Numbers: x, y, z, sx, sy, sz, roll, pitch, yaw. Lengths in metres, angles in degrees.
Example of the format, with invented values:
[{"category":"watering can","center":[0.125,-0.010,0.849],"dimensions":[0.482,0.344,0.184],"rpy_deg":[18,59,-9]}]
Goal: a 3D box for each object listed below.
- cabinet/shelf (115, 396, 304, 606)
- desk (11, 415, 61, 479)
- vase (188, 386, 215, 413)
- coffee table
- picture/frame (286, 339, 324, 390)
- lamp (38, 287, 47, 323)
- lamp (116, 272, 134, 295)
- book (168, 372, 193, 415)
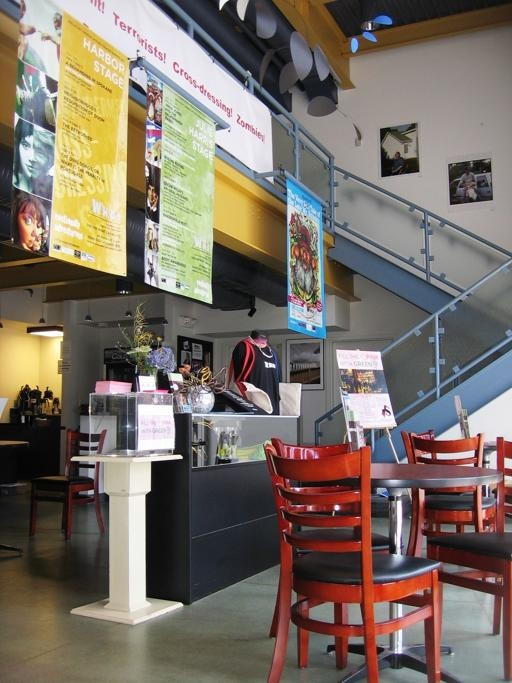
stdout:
[{"category":"cabinet/shelf","center":[-0.287,0.877,3.032],"dimensions":[0.374,1.028,1.202],"rpy_deg":[-3,-3,24]},{"category":"desk","center":[-4.106,1.921,10.769],"dimensions":[0.851,1.296,1.243],"rpy_deg":[8,-7,-29]},{"category":"vase","center":[-0.309,0.343,3.388],"dimensions":[0.138,0.170,0.143],"rpy_deg":[3,-8,-28]},{"category":"coffee table","center":[-0.617,0.963,2.856],"dimensions":[0.522,0.780,0.497],"rpy_deg":[6,-12,-31]},{"category":"picture/frame","center":[0.833,0.379,9.312],"dimensions":[0.751,1.105,0.044],"rpy_deg":[-3,-10,27]},{"category":"lamp","center":[-3.927,-0.659,10.553],"dimensions":[0.141,0.641,0.596],"rpy_deg":[4,-11,-20]},{"category":"lamp","center":[-1.936,-0.817,8.372],"dimensions":[0.220,0.224,0.472],"rpy_deg":[3,-11,-14]},{"category":"book","center":[-0.434,0.305,3.317],"dimensions":[0.045,0.196,0.204],"rpy_deg":[-7,-1,6]}]
